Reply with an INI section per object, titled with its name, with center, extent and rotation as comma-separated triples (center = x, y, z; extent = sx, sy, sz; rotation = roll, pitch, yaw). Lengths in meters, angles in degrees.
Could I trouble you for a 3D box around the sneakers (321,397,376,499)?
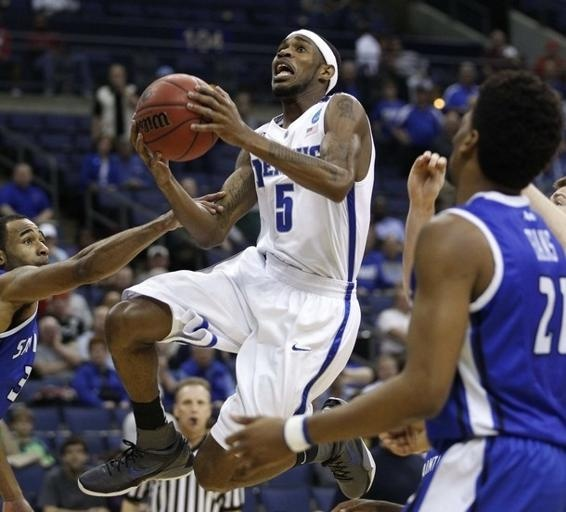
[sneakers]
center = 0.288, 1.002, 4.678
extent = 0.149, 0.388, 0.156
rotation = -14, -16, -7
